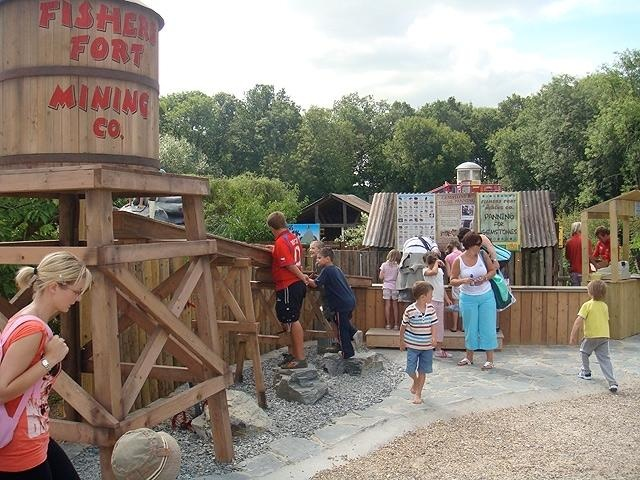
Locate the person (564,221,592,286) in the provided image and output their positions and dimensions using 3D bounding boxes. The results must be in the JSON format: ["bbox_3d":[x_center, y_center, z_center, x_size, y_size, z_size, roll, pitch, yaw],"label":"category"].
[{"bbox_3d":[5.376,0.275,12.992,0.278,1.360,0.739,0,6,4],"label":"person"}]

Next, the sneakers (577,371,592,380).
[{"bbox_3d":[3.715,1.886,8.656,0.075,0.104,0.206,1,3,3],"label":"sneakers"}]

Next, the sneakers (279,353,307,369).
[{"bbox_3d":[-0.387,1.721,8.812,0.343,0.158,0.216,4,-2,10],"label":"sneakers"}]

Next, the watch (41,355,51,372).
[{"bbox_3d":[-1.913,0.863,4.346,0.056,0.085,0.090,-6,47,-32],"label":"watch"}]

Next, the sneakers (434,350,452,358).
[{"bbox_3d":[2.015,1.869,10.196,0.214,0.103,0.129,-2,1,15],"label":"sneakers"}]

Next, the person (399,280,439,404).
[{"bbox_3d":[1.257,1.287,7.952,0.425,1.518,0.534,2,7,23],"label":"person"}]

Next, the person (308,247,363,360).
[{"bbox_3d":[0.250,0.950,9.419,0.707,1.737,1.153,0,6,4],"label":"person"}]

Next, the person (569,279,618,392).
[{"bbox_3d":[4.009,1.213,8.967,0.614,1.496,1.898,2,7,25],"label":"person"}]

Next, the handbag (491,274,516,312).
[{"bbox_3d":[2.893,0.846,9.817,0.277,0.551,0.463,-7,26,25],"label":"handbag"}]

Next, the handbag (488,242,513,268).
[{"bbox_3d":[3.091,0.207,10.644,0.385,0.398,0.285,30,14,-1],"label":"handbag"}]

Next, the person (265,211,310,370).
[{"bbox_3d":[-0.427,0.716,8.650,0.547,2.246,0.862,-1,6,-5],"label":"person"}]
